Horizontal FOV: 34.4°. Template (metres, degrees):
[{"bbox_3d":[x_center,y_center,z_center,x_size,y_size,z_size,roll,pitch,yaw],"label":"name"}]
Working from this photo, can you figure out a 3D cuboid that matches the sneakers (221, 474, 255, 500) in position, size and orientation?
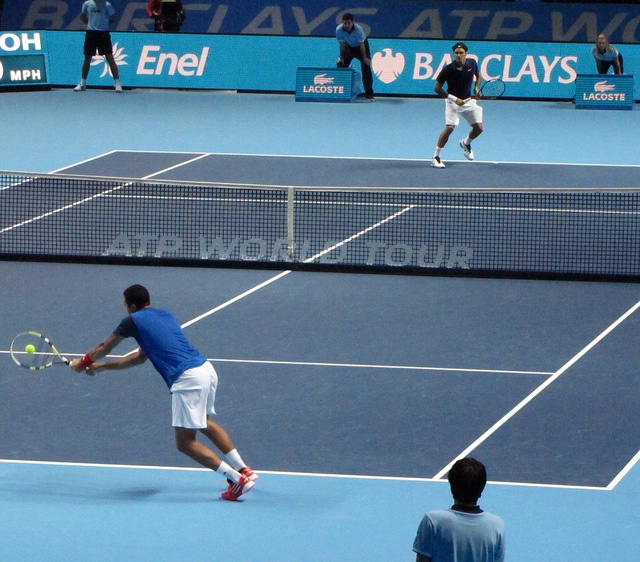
[{"bbox_3d":[-0.576,1.437,7.241,0.134,0.291,0.109,40,39,-10],"label":"sneakers"}]

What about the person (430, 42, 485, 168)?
[{"bbox_3d":[2.250,-2.875,17.078,0.799,1.921,1.038,1,3,7],"label":"person"}]

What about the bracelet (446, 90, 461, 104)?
[{"bbox_3d":[2.172,-2.933,16.706,0.199,0.078,0.149,33,19,13],"label":"bracelet"}]

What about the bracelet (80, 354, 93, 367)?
[{"bbox_3d":[-1.638,0.553,7.275,0.078,0.065,0.083,43,7,13],"label":"bracelet"}]

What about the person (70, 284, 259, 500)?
[{"bbox_3d":[-1.019,0.859,7.176,1.142,1.326,0.372,0,3,-6],"label":"person"}]

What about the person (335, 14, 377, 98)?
[{"bbox_3d":[0.810,-5.392,24.993,0.828,1.714,1.997,1,2,4],"label":"person"}]

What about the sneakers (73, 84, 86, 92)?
[{"bbox_3d":[-6.150,-4.902,26.493,0.278,0.190,0.153,6,11,-4],"label":"sneakers"}]

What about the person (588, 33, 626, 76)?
[{"bbox_3d":[6.651,-5.202,24.151,0.536,0.830,1.072,3,3,39],"label":"person"}]
